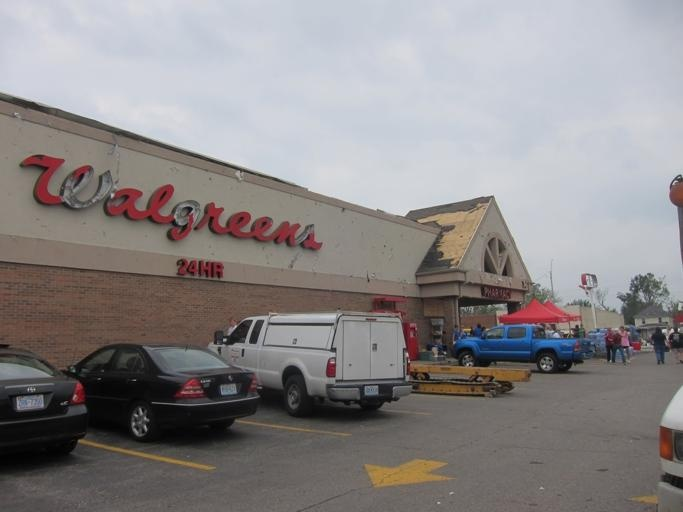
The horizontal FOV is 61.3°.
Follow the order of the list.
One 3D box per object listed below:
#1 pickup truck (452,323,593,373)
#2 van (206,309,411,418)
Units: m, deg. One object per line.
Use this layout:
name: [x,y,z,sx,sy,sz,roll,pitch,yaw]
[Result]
pickup truck: [7.837,3.957,25.269,4.673,1.703,2.262,-1,-8,30]
van: [-0.935,2.428,14.943,2.339,1.662,4.088,6,-4,-43]
